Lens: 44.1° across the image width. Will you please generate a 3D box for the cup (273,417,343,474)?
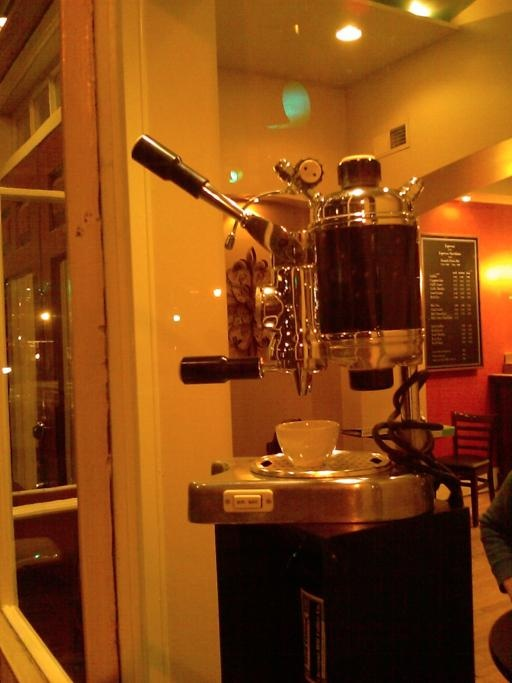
[{"bbox_3d":[0.048,0.095,0.589,0.056,0.040,0.060,-4,-1,0],"label":"cup"}]
